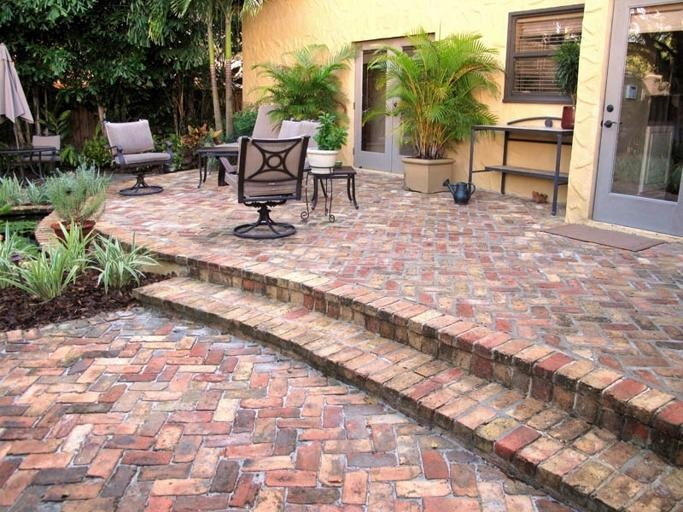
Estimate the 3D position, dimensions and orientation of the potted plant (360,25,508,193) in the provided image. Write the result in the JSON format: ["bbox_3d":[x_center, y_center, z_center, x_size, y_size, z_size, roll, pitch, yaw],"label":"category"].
[{"bbox_3d":[1.588,-2.819,9.066,2.988,3.275,2.714,-7,12,-44],"label":"potted plant"}]

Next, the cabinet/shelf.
[{"bbox_3d":[2.879,-1.537,7.169,1.130,1.290,2.204,-11,20,-26],"label":"cabinet/shelf"}]

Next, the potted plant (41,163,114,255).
[{"bbox_3d":[-3.157,-0.627,5.355,0.647,0.639,0.546,-2,12,-12],"label":"potted plant"}]

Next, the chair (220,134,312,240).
[{"bbox_3d":[-0.926,-0.864,5.524,0.918,1.137,1.092,0,13,-11],"label":"chair"}]

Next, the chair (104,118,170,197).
[{"bbox_3d":[-3.787,-1.859,8.409,0.987,1.246,0.849,-16,28,-41],"label":"chair"}]

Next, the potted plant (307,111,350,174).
[{"bbox_3d":[-0.225,-1.620,6.442,0.448,0.786,0.636,10,22,33],"label":"potted plant"}]
